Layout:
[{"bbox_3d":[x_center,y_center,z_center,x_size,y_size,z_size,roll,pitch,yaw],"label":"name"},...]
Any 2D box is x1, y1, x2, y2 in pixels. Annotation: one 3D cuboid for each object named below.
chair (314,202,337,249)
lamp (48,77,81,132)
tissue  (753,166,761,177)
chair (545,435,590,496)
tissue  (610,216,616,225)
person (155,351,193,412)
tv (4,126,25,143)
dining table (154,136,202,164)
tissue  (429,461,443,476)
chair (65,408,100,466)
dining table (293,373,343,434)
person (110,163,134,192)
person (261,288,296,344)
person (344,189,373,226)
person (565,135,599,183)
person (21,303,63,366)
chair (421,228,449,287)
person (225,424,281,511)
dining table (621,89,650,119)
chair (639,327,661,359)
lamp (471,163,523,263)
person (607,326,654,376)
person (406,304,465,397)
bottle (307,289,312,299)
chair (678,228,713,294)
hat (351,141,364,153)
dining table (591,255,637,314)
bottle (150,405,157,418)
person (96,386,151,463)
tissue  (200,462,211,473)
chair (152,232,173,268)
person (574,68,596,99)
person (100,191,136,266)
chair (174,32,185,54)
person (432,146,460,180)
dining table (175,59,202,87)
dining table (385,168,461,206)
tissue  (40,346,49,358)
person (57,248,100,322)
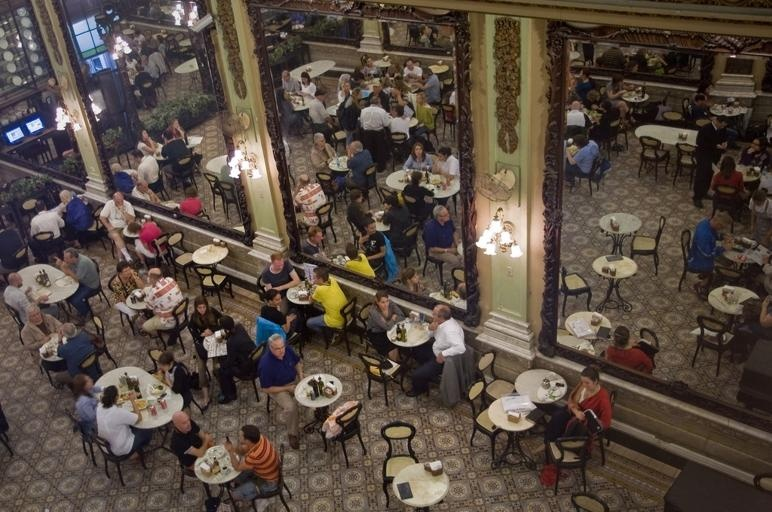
[{"bbox_3d":[-1.343,-0.664,13.575,0.579,1.412,0.592,-10,59,-11],"label":"chair"},{"bbox_3d":[-8.412,-3.916,15.928,0.465,1.382,1.127,-26,41,-32],"label":"lamp"},{"bbox_3d":[8.128,-1.868,13.445,0.166,0.181,0.190,-7,-7,-10],"label":"tissue "},{"bbox_3d":[3.047,3.498,10.349,0.628,0.855,0.711,4,35,10],"label":"chair"},{"bbox_3d":[4.721,-0.751,12.703,0.135,0.131,0.287,10,36,16],"label":"tissue "},{"bbox_3d":[-4.051,2.421,11.717,0.562,1.057,0.484,-19,60,-15],"label":"person"},{"bbox_3d":[-11.304,-3.731,18.663,0.125,0.335,0.397,25,40,27],"label":"tv"},{"bbox_3d":[-5.126,-2.643,15.255,0.943,0.655,0.314,-10,2,20],"label":"dining table"},{"bbox_3d":[0.831,3.414,9.923,0.206,0.129,0.208,-16,40,-16],"label":"tissue "},{"bbox_3d":[-5.681,3.420,11.539,0.613,0.951,0.574,-27,69,-20],"label":"chair"},{"bbox_3d":[-1.176,2.558,11.664,1.001,1.132,1.062,-5,47,-4],"label":"dining table"},{"bbox_3d":[-6.865,-2.046,16.037,0.448,0.768,0.721,-19,38,-24],"label":"person"},{"bbox_3d":[-2.134,1.222,12.246,0.426,1.012,0.595,38,72,11],"label":"person"},{"bbox_3d":[-0.566,-1.025,13.254,0.511,0.745,0.926,-6,35,-7],"label":"person"},{"bbox_3d":[4.353,-2.115,13.839,0.711,1.304,0.605,21,46,35],"label":"person"},{"bbox_3d":[-7.303,1.688,12.989,0.549,1.147,0.572,20,68,7],"label":"person"},{"bbox_3d":[1.014,0.028,12.250,0.548,0.922,0.532,20,55,24],"label":"chair"},{"bbox_3d":[-2.254,3.651,10.453,0.874,1.535,0.606,11,45,-5],"label":"person"},{"bbox_3d":[6.392,-3.950,15.665,0.730,0.525,0.750,-5,68,-1],"label":"dining table"},{"bbox_3d":[4.909,1.621,11.406,0.201,0.356,0.339,-27,61,-14],"label":"chair"},{"bbox_3d":[1.941,-0.817,10.551,1.026,1.589,0.874,16,42,27],"label":"lamp"},{"bbox_3d":[4.297,1.687,10.825,0.611,1.288,0.741,2,75,25],"label":"person"},{"bbox_3d":[0.991,1.832,11.699,1.058,1.873,0.821,-2,34,0],"label":"person"},{"bbox_3d":[-1.594,0.779,12.962,0.117,0.169,0.060,5,-7,37],"label":"bottle"},{"bbox_3d":[6.252,0.125,12.348,0.605,1.143,0.629,12,49,23],"label":"chair"},{"bbox_3d":[-0.662,-2.472,13.953,0.204,0.282,0.274,3,-7,-32],"label":"hat"},{"bbox_3d":[4.533,0.570,12.261,0.645,0.808,0.628,-36,47,-28],"label":"dining table"},{"bbox_3d":[-4.258,2.834,11.256,0.094,0.148,0.154,-19,55,-25],"label":"bottle"},{"bbox_3d":[-4.749,3.127,11.285,0.713,1.577,0.890,12,20,33],"label":"person"},{"bbox_3d":[-3.030,3.571,10.394,0.173,0.171,0.134,15,20,30],"label":"tissue "},{"bbox_3d":[-5.443,-0.191,14.993,0.399,0.663,0.458,-36,70,-22],"label":"chair"},{"bbox_3d":[4.980,-4.295,15.340,0.443,0.514,0.806,9,36,15],"label":"person"},{"bbox_3d":[-6.671,-0.751,15.444,0.797,1.659,1.519,-6,29,-32],"label":"person"},{"bbox_3d":[-4.799,-5.006,14.326,0.215,0.313,0.312,-22,22,23],"label":"chair"},{"bbox_3d":[1.282,-1.836,12.927,0.598,0.962,0.518,-3,28,9],"label":"person"},{"bbox_3d":[-4.725,-4.485,14.720,0.554,0.361,0.517,-18,70,-11],"label":"dining table"},{"bbox_3d":[0.788,-1.517,13.071,1.952,0.593,0.575,26,43,34],"label":"dining table"},{"bbox_3d":[-6.961,1.941,12.538,0.179,0.054,0.181,9,56,2],"label":"tissue "},{"bbox_3d":[-7.145,0.724,14.248,0.909,1.662,0.660,-23,51,-37],"label":"person"}]
